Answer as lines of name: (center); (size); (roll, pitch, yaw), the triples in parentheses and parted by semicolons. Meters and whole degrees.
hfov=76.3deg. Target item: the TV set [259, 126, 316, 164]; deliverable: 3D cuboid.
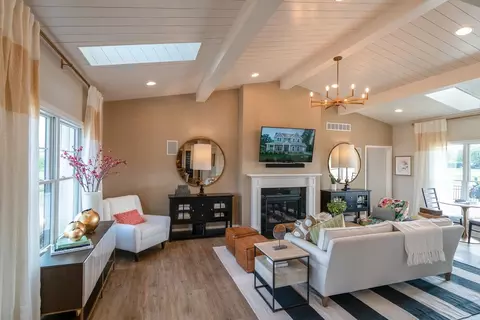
TV set: (1.069, -0.371, 7.290); (1.601, 0.909, 0.088); (1, 0, -17)

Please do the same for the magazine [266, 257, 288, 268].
magazine: (0.563, 1.515, 4.474); (0.185, 0.044, 0.197); (1, -1, -16)

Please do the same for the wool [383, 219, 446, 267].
wool: (2.700, 1.213, 4.751); (0.612, 0.651, 0.813); (7, 0, -24)

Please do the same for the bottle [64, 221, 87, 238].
bottle: (-2.294, 0.914, 4.263); (0.271, 0.247, 0.263); (7, 7, -31)

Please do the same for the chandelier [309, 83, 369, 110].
chandelier: (2.273, -1.479, 7.027); (0.868, 0.942, 0.845); (0, -2, 37)

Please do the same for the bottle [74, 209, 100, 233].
bottle: (-2.276, 0.905, 4.643); (0.356, 0.368, 0.351); (2, 4, 7)

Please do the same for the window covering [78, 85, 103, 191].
window covering: (-2.617, -0.558, 5.442); (0.232, 1.439, 0.602); (3, 3, -12)
